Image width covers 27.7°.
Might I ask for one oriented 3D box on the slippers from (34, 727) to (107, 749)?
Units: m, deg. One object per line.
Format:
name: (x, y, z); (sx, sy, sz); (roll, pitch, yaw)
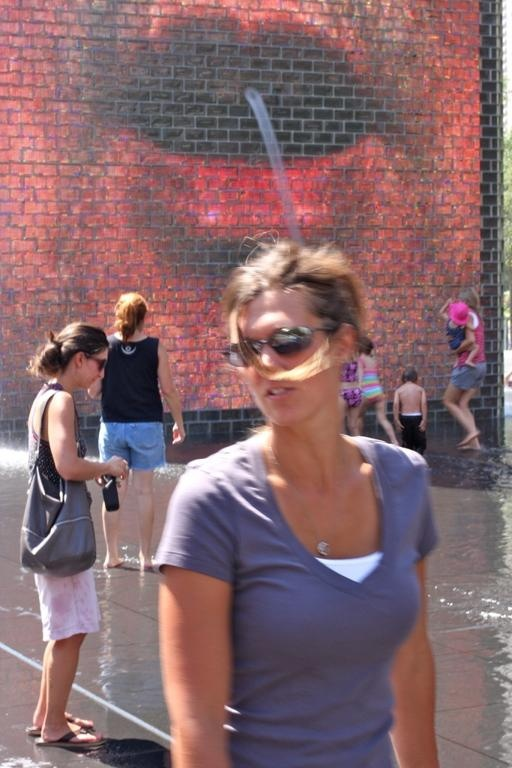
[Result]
slippers: (-0.662, 1.289, 3.733); (0.207, 0.050, 0.082); (-1, 7, -11)

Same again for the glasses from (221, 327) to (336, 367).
glasses: (0.027, -0.060, 1.627); (0.093, 0.026, 0.091); (-16, -7, 33)

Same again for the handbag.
handbag: (-0.733, 0.511, 3.833); (0.263, 0.416, 0.227); (-2, 4, -13)
